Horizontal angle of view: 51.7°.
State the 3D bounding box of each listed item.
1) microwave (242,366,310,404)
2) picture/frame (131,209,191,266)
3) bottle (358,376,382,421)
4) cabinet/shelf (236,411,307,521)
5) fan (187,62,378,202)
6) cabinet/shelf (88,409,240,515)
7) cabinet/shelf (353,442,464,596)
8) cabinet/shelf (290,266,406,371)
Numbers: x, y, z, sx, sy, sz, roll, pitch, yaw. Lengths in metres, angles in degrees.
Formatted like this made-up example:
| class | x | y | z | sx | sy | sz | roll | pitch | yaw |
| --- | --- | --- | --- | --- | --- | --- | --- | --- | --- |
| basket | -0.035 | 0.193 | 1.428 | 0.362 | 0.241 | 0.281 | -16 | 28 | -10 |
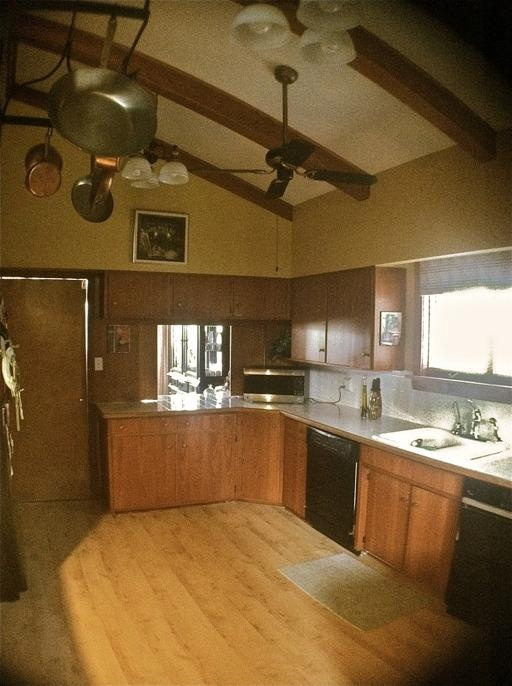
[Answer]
| class | x | y | z | sx | sy | sz | roll | pitch | yaw |
| --- | --- | --- | --- | --- | --- | --- | --- | --- | --- |
| microwave | 0.168 | 0.355 | 4.462 | 0.496 | 0.315 | 0.294 | 1 | -3 | 13 |
| picture/frame | -0.815 | -0.879 | 4.366 | 0.491 | 0.470 | 0.047 | 1 | 0 | -30 |
| bottle | 0.861 | 0.392 | 3.924 | 0.156 | 0.298 | 0.315 | 1 | 5 | 12 |
| cabinet/shelf | 0.145 | 0.943 | 4.173 | 0.221 | 0.783 | 0.687 | -4 | 6 | -39 |
| fan | 0.181 | -1.070 | 2.633 | 0.662 | 0.488 | 0.685 | 10 | 37 | 13 |
| cabinet/shelf | -0.695 | 0.931 | 4.405 | 1.014 | 0.748 | 0.533 | -1 | 0 | -16 |
| cabinet/shelf | 0.949 | 0.980 | 3.115 | 0.352 | 0.733 | 0.641 | 0 | 7 | -41 |
| cabinet/shelf | 0.720 | -0.194 | 3.973 | 0.225 | 0.559 | 0.884 | 1 | 1 | -20 |
